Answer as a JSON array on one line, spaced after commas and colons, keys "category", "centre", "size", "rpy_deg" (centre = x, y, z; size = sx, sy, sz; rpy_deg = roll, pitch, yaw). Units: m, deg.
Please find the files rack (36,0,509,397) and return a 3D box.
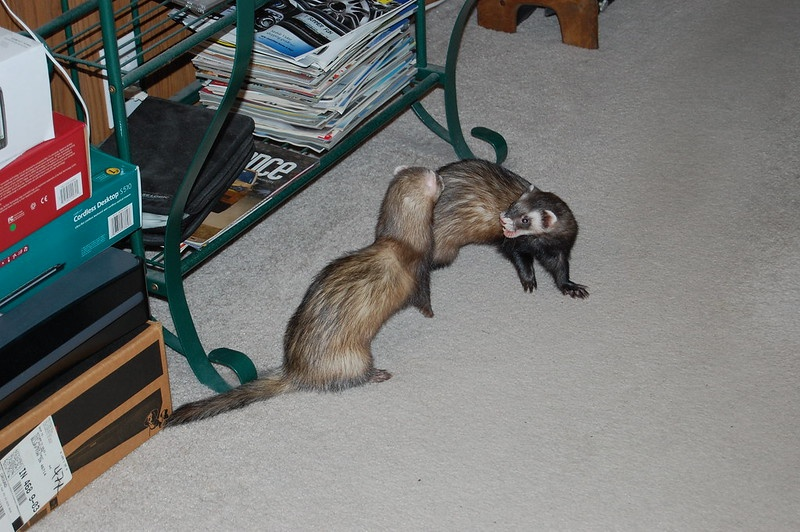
[{"category": "files rack", "centre": [-0.512, -0.225, 2.780], "size": [1.124, 1.077, 0.903], "rpy_deg": [-39, 69, -23]}]
